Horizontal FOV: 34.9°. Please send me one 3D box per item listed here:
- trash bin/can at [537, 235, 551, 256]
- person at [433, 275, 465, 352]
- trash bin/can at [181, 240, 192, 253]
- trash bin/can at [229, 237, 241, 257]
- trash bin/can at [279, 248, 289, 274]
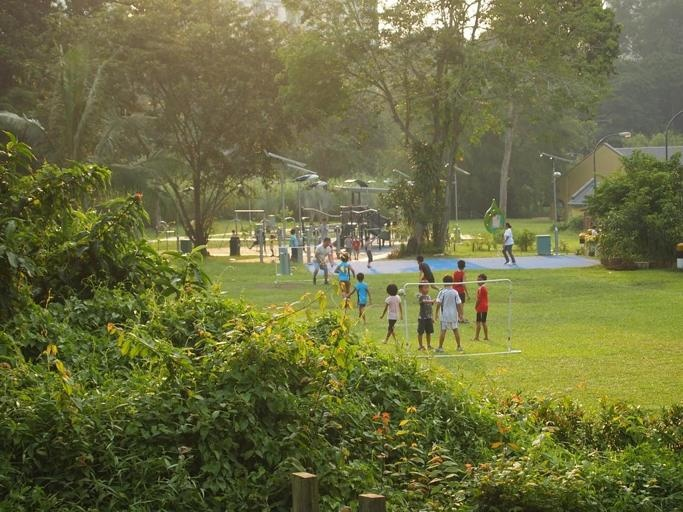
[{"bbox_3d":[10.291,-0.536,55.575,0.719,0.997,0.727,-2,-4,1],"label":"trash bin/can"},{"bbox_3d":[3.312,1.772,33.711,0.718,2.301,0.901,0,0,17],"label":"person"},{"bbox_3d":[-7.910,-0.477,55.656,0.566,0.905,0.837,0,-2,-18],"label":"trash bin/can"},{"bbox_3d":[-5.756,-0.524,58.705,0.518,1.114,0.969,-1,-4,-8],"label":"trash bin/can"},{"bbox_3d":[-2.468,0.197,47.007,0.373,1.204,1.000,-2,-4,-1],"label":"trash bin/can"}]
